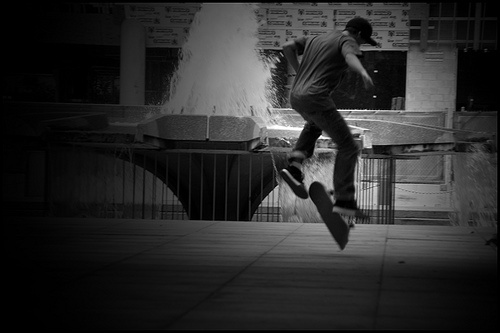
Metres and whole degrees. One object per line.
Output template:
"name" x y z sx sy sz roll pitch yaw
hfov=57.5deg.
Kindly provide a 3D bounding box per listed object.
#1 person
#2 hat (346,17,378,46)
"person" 0.850 -0.582 5.053 1.052 2.140 0.574 5 10 24
"hat" 1.221 -1.507 5.042 0.387 0.208 0.270 24 9 -17
